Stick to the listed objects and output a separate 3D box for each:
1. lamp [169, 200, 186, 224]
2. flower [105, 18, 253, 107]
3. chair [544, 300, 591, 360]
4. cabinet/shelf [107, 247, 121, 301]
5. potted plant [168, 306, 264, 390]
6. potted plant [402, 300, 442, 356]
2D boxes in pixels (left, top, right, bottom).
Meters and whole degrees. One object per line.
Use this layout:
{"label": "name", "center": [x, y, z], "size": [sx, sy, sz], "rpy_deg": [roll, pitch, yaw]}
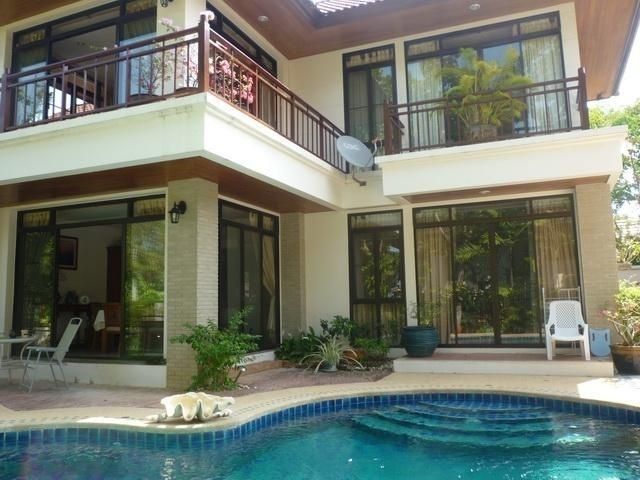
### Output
{"label": "lamp", "center": [-2.627, -0.514, 9.297], "size": [0.370, 0.437, 0.170], "rpy_deg": [0, 4, 6]}
{"label": "flower", "center": [-2.464, -2.989, 8.782], "size": [1.871, 1.156, 1.908], "rpy_deg": [-3, 0, 31]}
{"label": "chair", "center": [4.744, 1.765, 9.818], "size": [0.846, 1.053, 0.835], "rpy_deg": [-3, -4, 0]}
{"label": "cabinet/shelf", "center": [-5.964, 0.958, 14.621], "size": [0.433, 1.625, 0.567], "rpy_deg": [-3, 4, -32]}
{"label": "potted plant", "center": [-1.851, 1.986, 8.865], "size": [1.133, 1.027, 1.005], "rpy_deg": [8, 10, 18]}
{"label": "potted plant", "center": [2.146, 1.902, 11.009], "size": [1.171, 1.184, 1.192], "rpy_deg": [-3, -1, 17]}
